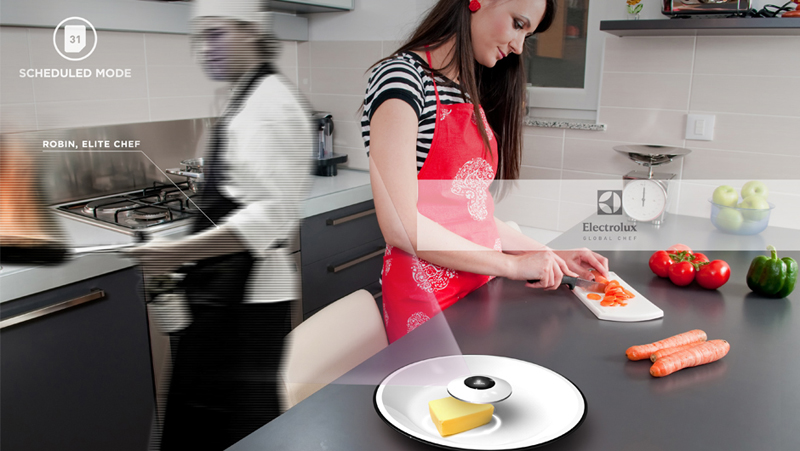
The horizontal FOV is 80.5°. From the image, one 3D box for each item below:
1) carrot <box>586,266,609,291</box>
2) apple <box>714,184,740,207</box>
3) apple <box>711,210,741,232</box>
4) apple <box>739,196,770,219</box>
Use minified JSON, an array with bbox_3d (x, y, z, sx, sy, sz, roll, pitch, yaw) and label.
[{"bbox_3d":[0.465,0.132,1.111,0.020,0.027,0.047,20,24,-30],"label":"carrot"},{"bbox_3d":[0.987,-0.086,1.422,0.047,0.043,0.046,-34,55,-25],"label":"apple"},{"bbox_3d":[0.947,-0.016,1.378,0.070,0.063,0.063,-4,9,13],"label":"apple"},{"bbox_3d":[1.024,-0.052,1.356,0.082,0.074,0.075,1,-2,-37],"label":"apple"}]
